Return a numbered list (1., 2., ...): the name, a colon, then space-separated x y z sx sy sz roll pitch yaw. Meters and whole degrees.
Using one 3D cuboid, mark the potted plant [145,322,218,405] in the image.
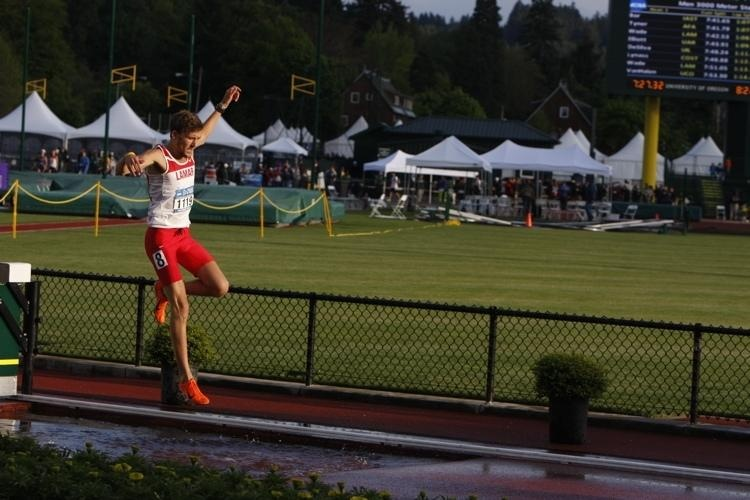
1. potted plant: -5.544 3.181 39.342 1.521 2.505 1.532 -2 0 0
